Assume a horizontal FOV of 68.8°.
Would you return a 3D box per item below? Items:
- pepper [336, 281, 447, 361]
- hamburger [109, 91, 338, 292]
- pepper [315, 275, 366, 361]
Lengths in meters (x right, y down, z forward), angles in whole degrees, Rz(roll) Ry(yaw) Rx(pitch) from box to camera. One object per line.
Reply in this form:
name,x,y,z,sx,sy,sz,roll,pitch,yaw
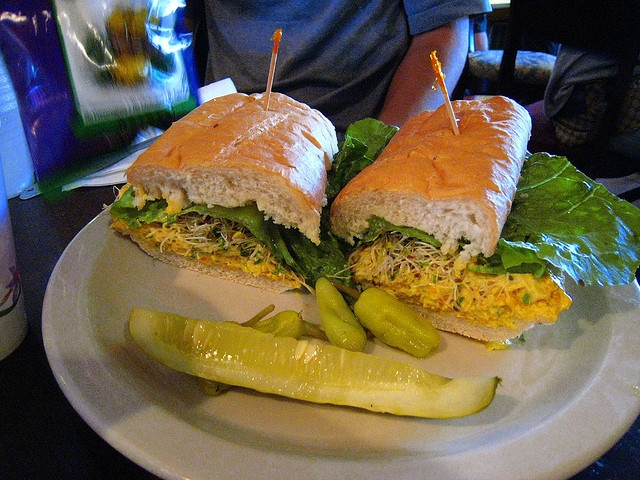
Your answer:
pepper,0.317,0.344,1.984,0.366,0.172,0.195,35,74,22
hamburger,-0.415,-0.278,2.187,0.812,0.383,1.064,19,46,4
pepper,0.069,0.321,1.952,0.131,0.116,0.311,-26,44,5
